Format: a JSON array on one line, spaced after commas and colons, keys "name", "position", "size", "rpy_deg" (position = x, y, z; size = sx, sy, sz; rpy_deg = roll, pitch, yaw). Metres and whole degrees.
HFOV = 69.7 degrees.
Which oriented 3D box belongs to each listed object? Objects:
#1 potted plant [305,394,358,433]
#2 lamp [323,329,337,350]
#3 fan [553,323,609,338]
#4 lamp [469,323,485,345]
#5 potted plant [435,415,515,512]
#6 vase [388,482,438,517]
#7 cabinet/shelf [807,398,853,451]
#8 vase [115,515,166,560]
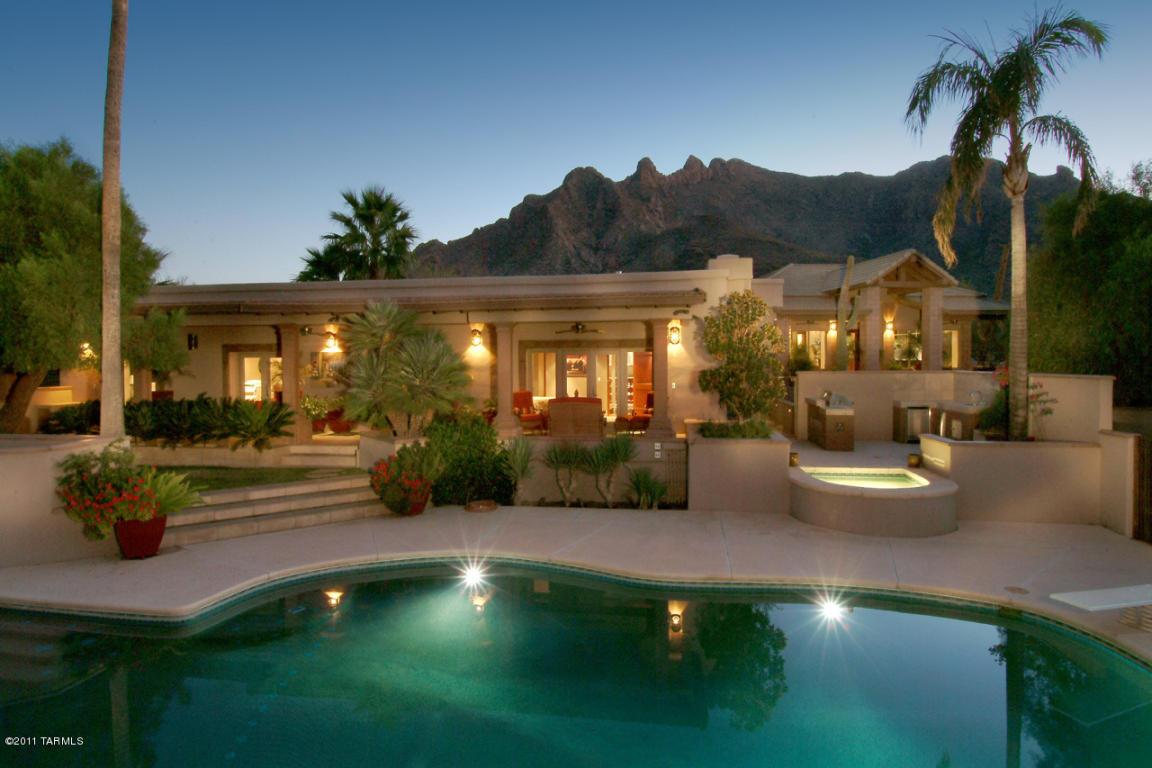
[{"name": "potted plant", "position": [-8.730, 1.141, 28.813], "size": [1.735, 1.038, 1.564], "rpy_deg": [3, -1, 21]}, {"name": "lamp", "position": [-8.661, -1.454, 28.887], "size": [0.519, 0.915, 0.553], "rpy_deg": [1, -2, -18]}, {"name": "fan", "position": [0.055, -1.902, 28.792], "size": [1.478, 0.429, 0.384], "rpy_deg": [-1, 2, 3]}, {"name": "lamp", "position": [-3.486, -1.620, 28.615], "size": [0.563, 0.795, 1.405], "rpy_deg": [-1, 2, -6]}, {"name": "potted plant", "position": [-3.124, 2.259, 24.092], "size": [1.967, 2.551, 1.295], "rpy_deg": [2, -21, -14]}, {"name": "vase", "position": [-4.682, 3.147, 23.034], "size": [0.973, 0.745, 1.010], "rpy_deg": [0, -1, 6]}, {"name": "cabinet/shelf", "position": [8.470, 1.519, 27.452], "size": [1.032, 1.359, 1.907], "rpy_deg": [-1, -2, 3]}, {"name": "vase", "position": [-10.995, 3.843, 20.942], "size": [1.331, 1.179, 0.986], "rpy_deg": [1, -6, -21]}]
